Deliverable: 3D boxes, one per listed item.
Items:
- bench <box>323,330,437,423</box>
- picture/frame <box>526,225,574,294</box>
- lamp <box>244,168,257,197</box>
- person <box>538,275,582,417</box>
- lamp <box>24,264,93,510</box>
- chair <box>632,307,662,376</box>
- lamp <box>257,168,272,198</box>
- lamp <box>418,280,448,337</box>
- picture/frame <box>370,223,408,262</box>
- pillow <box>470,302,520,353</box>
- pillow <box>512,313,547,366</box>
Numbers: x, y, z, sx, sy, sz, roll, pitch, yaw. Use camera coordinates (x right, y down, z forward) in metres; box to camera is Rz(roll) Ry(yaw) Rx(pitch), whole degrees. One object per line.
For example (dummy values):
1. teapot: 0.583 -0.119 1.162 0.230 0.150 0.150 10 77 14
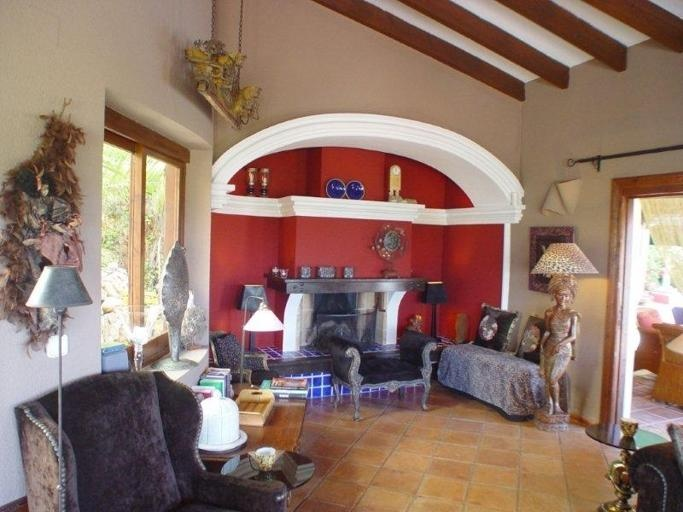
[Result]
1. bench: 0.537 1.486 6.807 1.191 0.889 0.876 -2 0 -15
2. picture/frame: 2.502 0.040 6.390 0.073 1.115 0.761 2 4 -20
3. lamp: -1.194 -0.982 7.081 0.143 0.357 0.232 -1 7 -12
4. person: 2.480 1.000 6.123 0.382 1.593 0.504 4 8 22
5. lamp: -1.690 0.745 3.193 0.306 1.404 0.474 -5 9 -41
6. chair: 3.486 0.972 6.072 0.258 0.841 0.466 5 8 32
7. lamp: -1.038 -0.982 7.179 0.133 0.369 0.324 0 7 -7
8. lamp: 1.378 0.841 8.085 0.399 0.939 0.790 2 7 11
9. picture/frame: 0.682 -0.198 7.572 0.482 0.518 0.157 18 -6 -26
10. pillow: 2.035 0.961 6.990 0.215 0.527 0.492 10 2 -36
11. pillow: 2.339 1.045 6.593 0.130 0.475 0.393 7 6 -20
